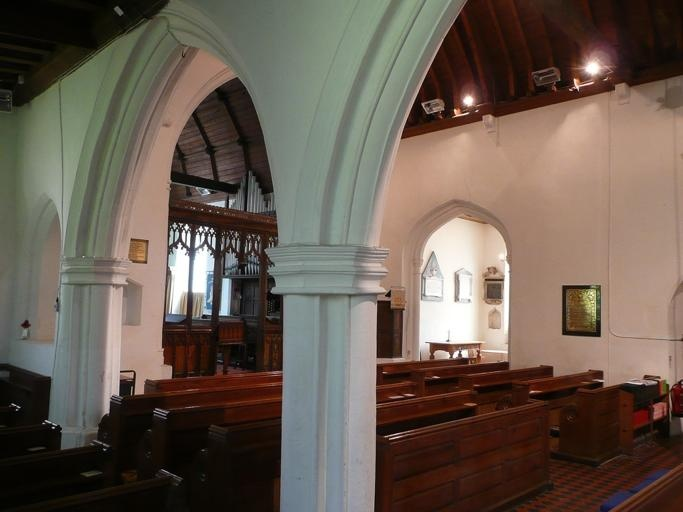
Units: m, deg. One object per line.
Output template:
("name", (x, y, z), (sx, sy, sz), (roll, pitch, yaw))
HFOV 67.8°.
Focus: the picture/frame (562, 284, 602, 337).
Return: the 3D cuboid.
("picture/frame", (3.966, 0.905, 8.416), (0.086, 1.237, 0.745), (8, -9, -41))
